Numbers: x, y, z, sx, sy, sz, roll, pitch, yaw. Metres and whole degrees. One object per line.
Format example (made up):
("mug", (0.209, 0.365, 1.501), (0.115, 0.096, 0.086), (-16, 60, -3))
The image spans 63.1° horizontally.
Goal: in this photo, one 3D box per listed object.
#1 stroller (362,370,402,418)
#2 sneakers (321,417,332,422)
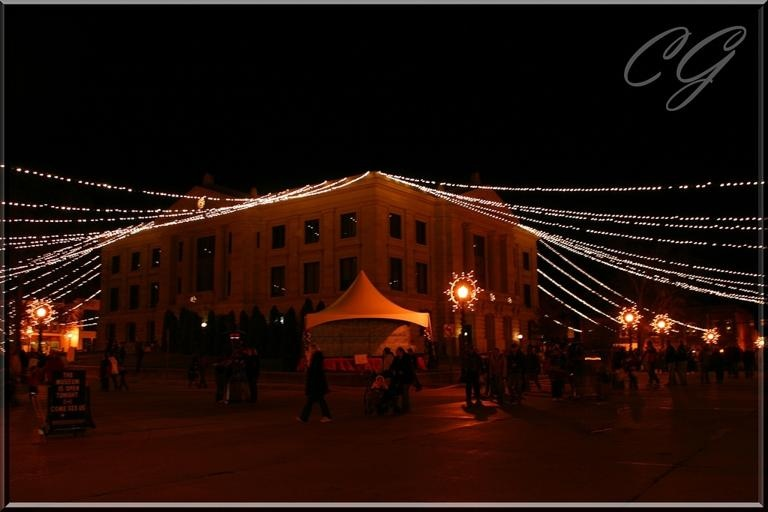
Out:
("stroller", (-0.041, 4.101, 18.777), (0.957, 1.327, 1.355), (-6, -23, 15))
("sneakers", (-1.591, 4.458, 17.221), (0.359, 0.159, 0.141), (9, -12, -20))
